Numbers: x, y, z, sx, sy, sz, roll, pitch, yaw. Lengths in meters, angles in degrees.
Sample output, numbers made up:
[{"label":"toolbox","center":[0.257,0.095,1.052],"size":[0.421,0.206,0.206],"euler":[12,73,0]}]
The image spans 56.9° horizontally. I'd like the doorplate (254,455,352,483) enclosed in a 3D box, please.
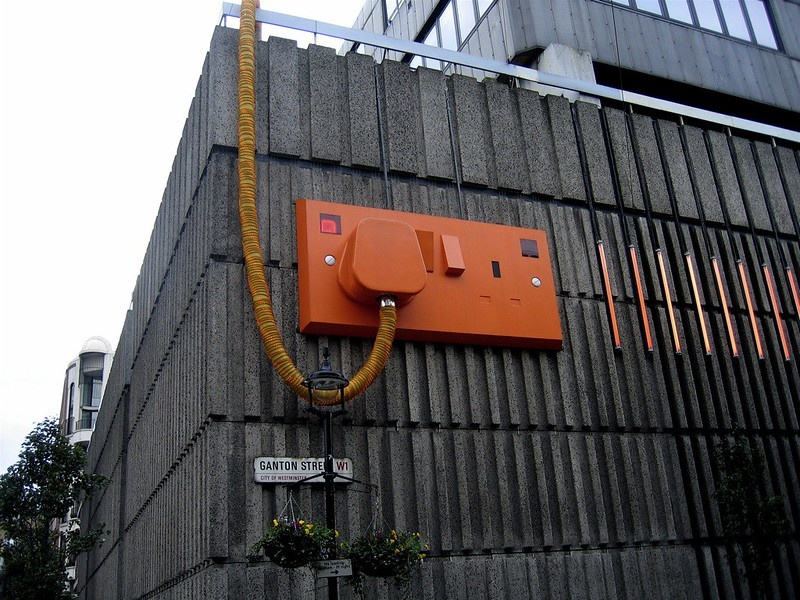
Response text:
[{"label":"doorplate","center":[-1.711,2.947,12.848],"size":[1.665,0.531,0.219],"euler":[7,-29,-14]}]
